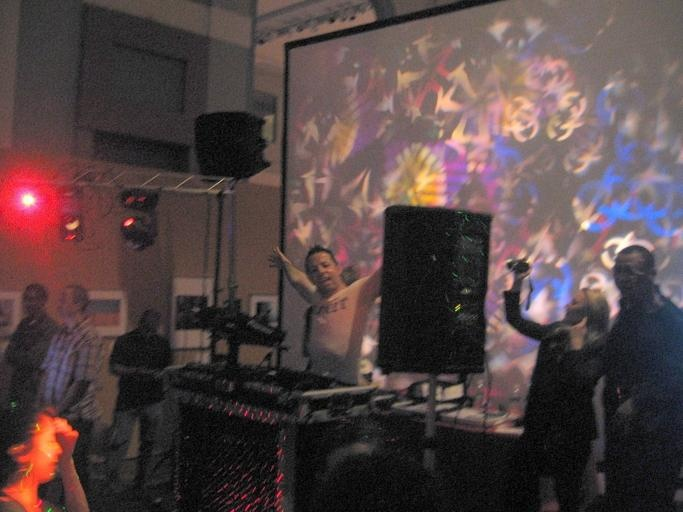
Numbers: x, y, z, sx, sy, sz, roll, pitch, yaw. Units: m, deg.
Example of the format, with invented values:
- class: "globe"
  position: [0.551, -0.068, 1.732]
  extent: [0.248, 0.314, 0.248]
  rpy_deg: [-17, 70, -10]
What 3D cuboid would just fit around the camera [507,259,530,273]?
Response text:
- class: "camera"
  position: [0.912, 0.054, 3.590]
  extent: [0.077, 0.074, 0.021]
  rpy_deg: [24, 2, 22]
